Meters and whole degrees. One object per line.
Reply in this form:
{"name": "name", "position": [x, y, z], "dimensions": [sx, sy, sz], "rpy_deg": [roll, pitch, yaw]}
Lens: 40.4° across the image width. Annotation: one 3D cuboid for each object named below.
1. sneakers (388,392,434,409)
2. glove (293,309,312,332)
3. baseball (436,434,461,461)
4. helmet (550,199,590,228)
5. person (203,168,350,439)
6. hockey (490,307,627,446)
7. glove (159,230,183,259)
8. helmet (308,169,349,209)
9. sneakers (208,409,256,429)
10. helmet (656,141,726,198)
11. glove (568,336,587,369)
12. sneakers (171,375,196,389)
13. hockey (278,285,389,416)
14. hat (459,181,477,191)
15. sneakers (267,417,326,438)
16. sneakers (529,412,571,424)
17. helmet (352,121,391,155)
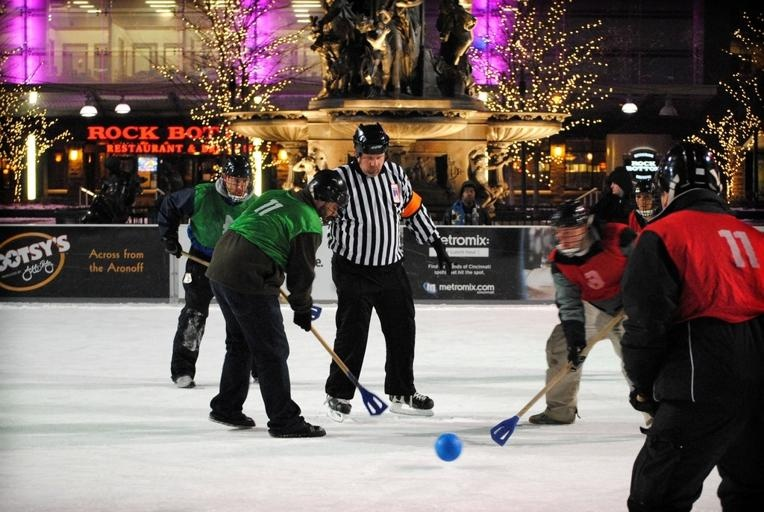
{"name": "sneakers", "position": [0.325, 1.425, 10.244], "dimensions": [0.488, 0.201, 0.160], "rpy_deg": [-7, 8, 20]}
{"name": "glove", "position": [-0.695, 0.578, 9.307], "dimensions": [0.130, 0.229, 0.312], "rpy_deg": [0, 8, 1]}
{"name": "baseball", "position": [0.557, 1.603, 8.655], "dimensions": [0.184, 0.150, 0.156], "rpy_deg": [26, -4, -37]}
{"name": "helmet", "position": [1.568, -0.352, 8.583], "dimensions": [0.282, 0.208, 0.368], "rpy_deg": [6, 10, 35]}
{"name": "person", "position": [-0.999, 0.443, 9.322], "dimensions": [1.162, 2.399, 0.465], "rpy_deg": [3, 9, 19]}
{"name": "hockey", "position": [1.767, 1.242, 10.281], "dimensions": [0.330, 1.890, 0.093], "rpy_deg": [53, 16, 20]}
{"name": "glove", "position": [-2.226, -0.124, 11.267], "dimensions": [0.195, 0.298, 0.126], "rpy_deg": [-1, 37, 20]}
{"name": "helmet", "position": [-0.455, -0.620, 9.289], "dimensions": [0.382, 0.299, 0.292], "rpy_deg": [-2, 3, 20]}
{"name": "sneakers", "position": [-1.367, 1.526, 9.773], "dimensions": [0.463, 0.197, 0.161], "rpy_deg": [13, -1, -4]}
{"name": "helmet", "position": [2.099, -0.579, 7.031], "dimensions": [0.355, 0.384, 0.424], "rpy_deg": [3, 24, 3]}
{"name": "glove", "position": [1.598, 0.788, 8.589], "dimensions": [0.155, 0.231, 0.066], "rpy_deg": [1, -4, -1]}
{"name": "sneakers", "position": [-2.091, 1.335, 11.066], "dimensions": [0.226, 0.131, 0.157], "rpy_deg": [-1, 8, -7]}
{"name": "hockey", "position": [-0.476, 1.014, 10.652], "dimensions": [0.297, 1.773, 0.180], "rpy_deg": [-40, 34, 4]}
{"name": "hat", "position": [1.398, -1.131, 16.658], "dimensions": [0.261, 0.248, 0.336], "rpy_deg": [3, 0, 0]}
{"name": "sneakers", "position": [-0.750, 1.534, 9.401], "dimensions": [0.580, 0.241, 0.188], "rpy_deg": [-1, -1, -10]}
{"name": "sneakers", "position": [1.594, 1.551, 9.778], "dimensions": [0.352, 0.135, 0.136], "rpy_deg": [3, -2, 9]}
{"name": "helmet", "position": [-0.114, -1.105, 10.135], "dimensions": [0.381, 0.436, 0.467], "rpy_deg": [-4, 11, -11]}
